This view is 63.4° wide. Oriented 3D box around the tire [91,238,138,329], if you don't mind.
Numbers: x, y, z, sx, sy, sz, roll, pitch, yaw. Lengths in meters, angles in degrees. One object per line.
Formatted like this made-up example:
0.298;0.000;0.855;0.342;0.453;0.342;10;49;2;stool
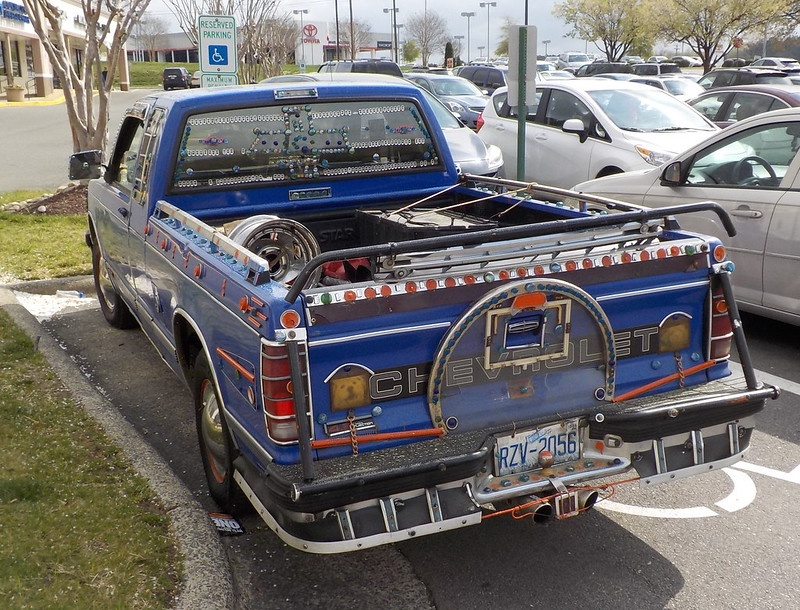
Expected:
-3.110;-0.294;7.182;0.367;1.017;0.984;-10;-2;-35;tire

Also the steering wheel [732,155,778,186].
3.509;-1.329;6.412;0.297;0.324;0.123;-18;-2;-12;steering wheel

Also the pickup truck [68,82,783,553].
-0.669;-0.594;5.617;3.163;2.143;6.041;-9;23;-27;pickup truck

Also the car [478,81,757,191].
3.198;-3.053;11.140;2.046;1.568;3.404;-16;22;-34;car

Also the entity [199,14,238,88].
-3.389;-4.743;12.023;0.749;1.182;0.573;-7;20;-15;entity
